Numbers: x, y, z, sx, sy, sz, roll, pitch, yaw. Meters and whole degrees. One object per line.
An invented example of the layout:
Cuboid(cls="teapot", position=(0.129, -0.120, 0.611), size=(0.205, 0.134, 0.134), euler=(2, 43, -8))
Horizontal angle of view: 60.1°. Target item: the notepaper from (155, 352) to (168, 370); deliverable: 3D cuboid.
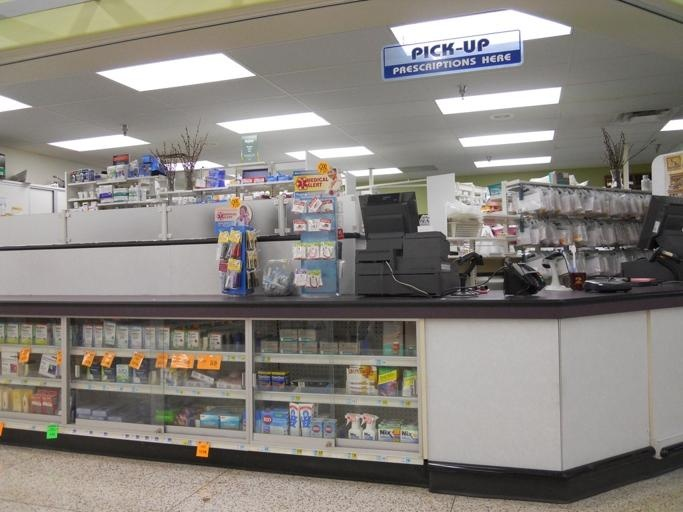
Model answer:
Cuboid(cls="notepaper", position=(-1.452, 0.829, 4.747), size=(0.160, 0.159, 0.025), euler=(2, -7, 24))

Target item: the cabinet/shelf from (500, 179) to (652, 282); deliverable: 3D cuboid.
Cuboid(cls="cabinet/shelf", position=(2.755, -0.316, 6.883), size=(1.553, 0.755, 0.221), euler=(0, 4, -23))

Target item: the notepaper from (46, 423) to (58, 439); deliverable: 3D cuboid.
Cuboid(cls="notepaper", position=(-2.400, 1.443, 4.881), size=(0.121, 0.109, 0.030), euler=(0, -23, -7))

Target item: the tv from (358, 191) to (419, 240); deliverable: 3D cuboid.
Cuboid(cls="tv", position=(0.290, -0.315, 4.848), size=(0.477, 0.395, 0.296), euler=(-6, 11, -26))

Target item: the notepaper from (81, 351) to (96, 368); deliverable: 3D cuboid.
Cuboid(cls="notepaper", position=(-2.111, 0.842, 4.895), size=(0.115, 0.138, 0.035), euler=(21, -2, 16))

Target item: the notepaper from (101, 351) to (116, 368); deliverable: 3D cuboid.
Cuboid(cls="notepaper", position=(-1.929, 0.842, 4.848), size=(0.107, 0.128, 0.038), euler=(12, -13, 12))

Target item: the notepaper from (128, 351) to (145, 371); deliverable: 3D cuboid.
Cuboid(cls="notepaper", position=(-1.667, 0.830, 4.787), size=(0.144, 0.124, 0.039), euler=(20, 2, 13))

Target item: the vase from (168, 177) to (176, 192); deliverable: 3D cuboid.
Cuboid(cls="vase", position=(-2.444, -1.021, 8.421), size=(0.082, 0.200, 0.258), euler=(-1, 2, -22))

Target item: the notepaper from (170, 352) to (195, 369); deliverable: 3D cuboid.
Cuboid(cls="notepaper", position=(-1.263, 0.819, 4.693), size=(0.162, 0.097, 0.007), euler=(0, -13, 11))
